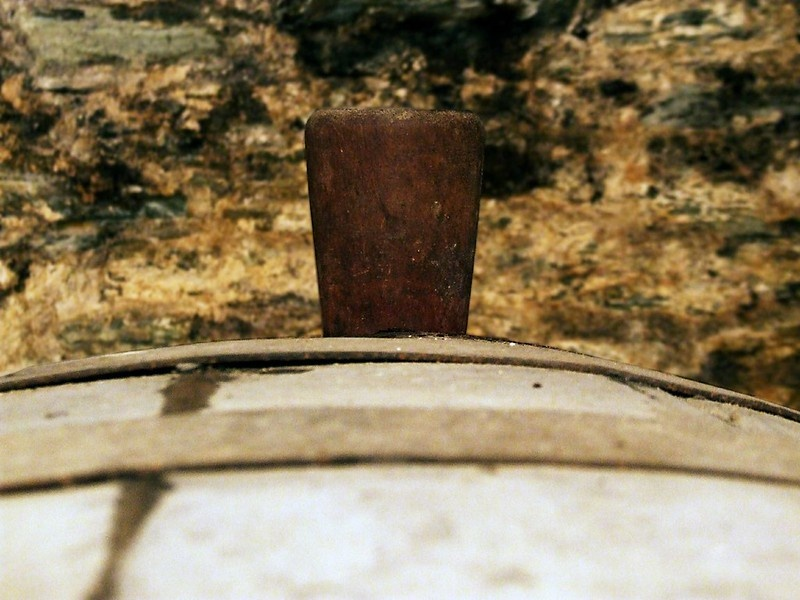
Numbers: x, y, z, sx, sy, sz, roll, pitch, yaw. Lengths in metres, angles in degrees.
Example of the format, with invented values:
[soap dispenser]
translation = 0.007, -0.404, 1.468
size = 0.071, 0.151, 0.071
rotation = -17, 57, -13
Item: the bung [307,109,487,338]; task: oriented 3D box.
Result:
[bung]
translation = -0.009, -0.183, 3.512
size = 0.304, 0.458, 0.308
rotation = 26, 36, 38
